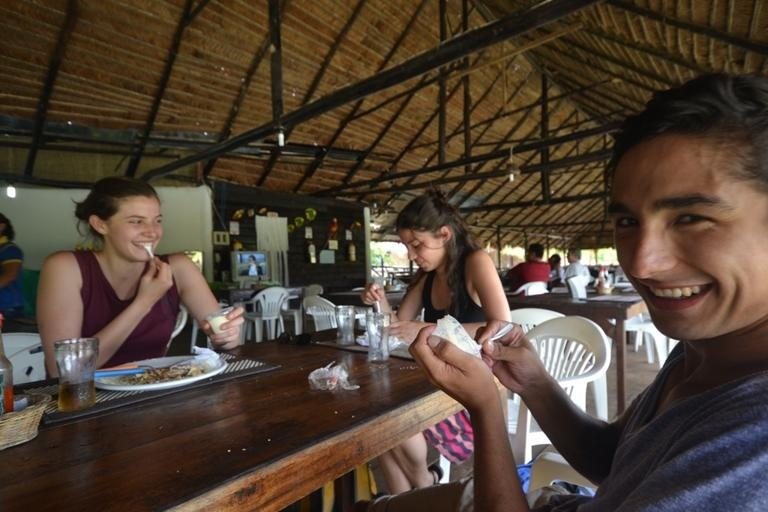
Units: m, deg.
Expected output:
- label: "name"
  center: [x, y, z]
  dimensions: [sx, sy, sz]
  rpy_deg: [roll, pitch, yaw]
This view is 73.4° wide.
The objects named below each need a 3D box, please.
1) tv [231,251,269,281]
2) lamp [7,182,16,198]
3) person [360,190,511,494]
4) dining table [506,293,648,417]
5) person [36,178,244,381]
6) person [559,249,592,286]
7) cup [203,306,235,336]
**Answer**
- label: "tv"
  center: [-2.164, 0.173, 8.556]
  dimensions: [0.433, 0.596, 0.835]
  rpy_deg: [-1, 0, 45]
- label: "lamp"
  center: [-4.819, -0.824, 6.688]
  dimensions: [0.043, 0.176, 0.116]
  rpy_deg: [8, 14, 28]
- label: "person"
  center: [0.255, 0.532, 2.904]
  dimensions: [1.010, 1.646, 0.834]
  rpy_deg: [1, -7, -11]
- label: "dining table"
  center: [1.679, 0.854, 4.470]
  dimensions: [1.007, 1.052, 1.241]
  rpy_deg: [-2, 1, 28]
- label: "person"
  center: [-1.197, 0.372, 2.629]
  dimensions: [0.918, 1.389, 0.669]
  rpy_deg: [5, 8, -8]
- label: "person"
  center: [3.360, 0.206, 8.865]
  dimensions: [0.456, 0.699, 0.752]
  rpy_deg: [-5, 12, -1]
- label: "cup"
  center: [-0.717, 0.290, 2.308]
  dimensions: [0.118, 0.082, 0.120]
  rpy_deg: [-20, 2, 1]
